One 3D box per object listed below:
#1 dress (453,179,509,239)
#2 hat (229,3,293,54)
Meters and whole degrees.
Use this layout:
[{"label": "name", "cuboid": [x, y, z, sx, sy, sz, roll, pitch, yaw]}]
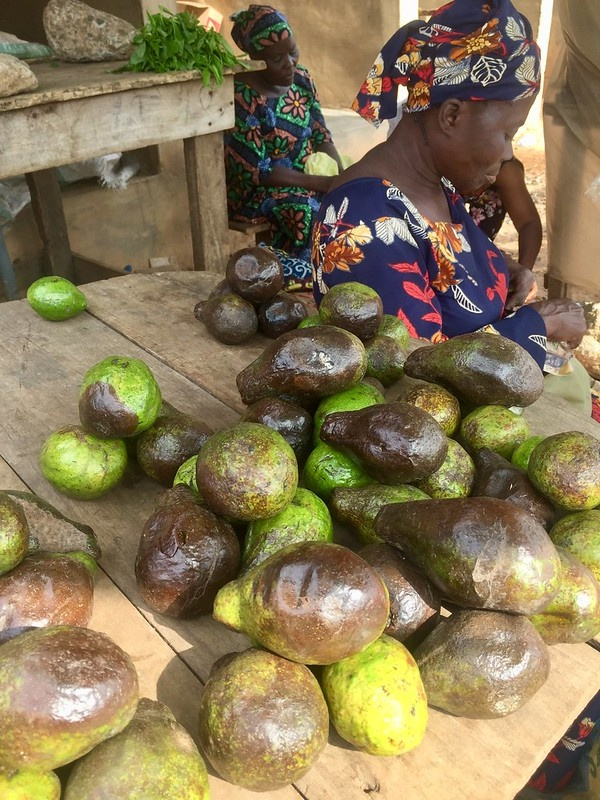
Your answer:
[{"label": "dress", "cuboid": [1.083, -1.072, 4.057, 0.262, 0.475, 0.162, -16, 57, 25]}, {"label": "hat", "cuboid": [-0.273, -2.467, 4.645, 0.230, 0.302, 0.451, -28, 39, -35]}]
